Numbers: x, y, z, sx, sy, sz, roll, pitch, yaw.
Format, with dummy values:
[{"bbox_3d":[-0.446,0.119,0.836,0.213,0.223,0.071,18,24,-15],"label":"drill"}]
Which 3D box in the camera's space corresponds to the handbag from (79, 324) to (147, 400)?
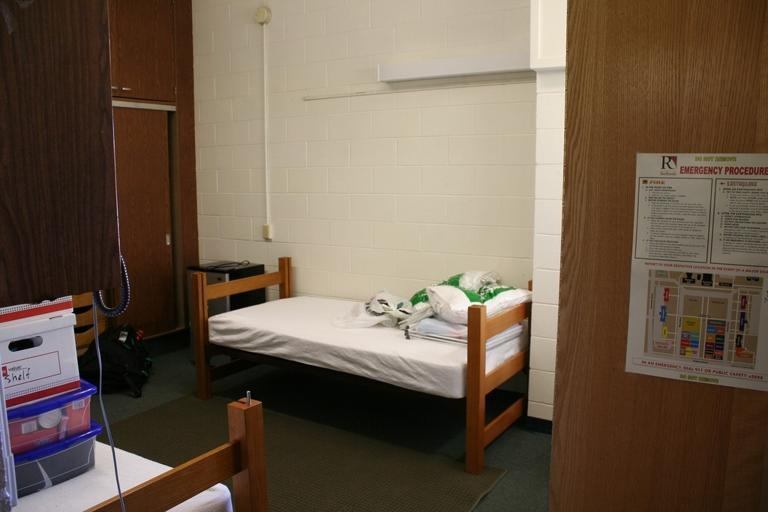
[{"bbox_3d":[-2.061,0.774,4.062,0.437,0.513,0.534,11,3,38],"label":"handbag"}]
